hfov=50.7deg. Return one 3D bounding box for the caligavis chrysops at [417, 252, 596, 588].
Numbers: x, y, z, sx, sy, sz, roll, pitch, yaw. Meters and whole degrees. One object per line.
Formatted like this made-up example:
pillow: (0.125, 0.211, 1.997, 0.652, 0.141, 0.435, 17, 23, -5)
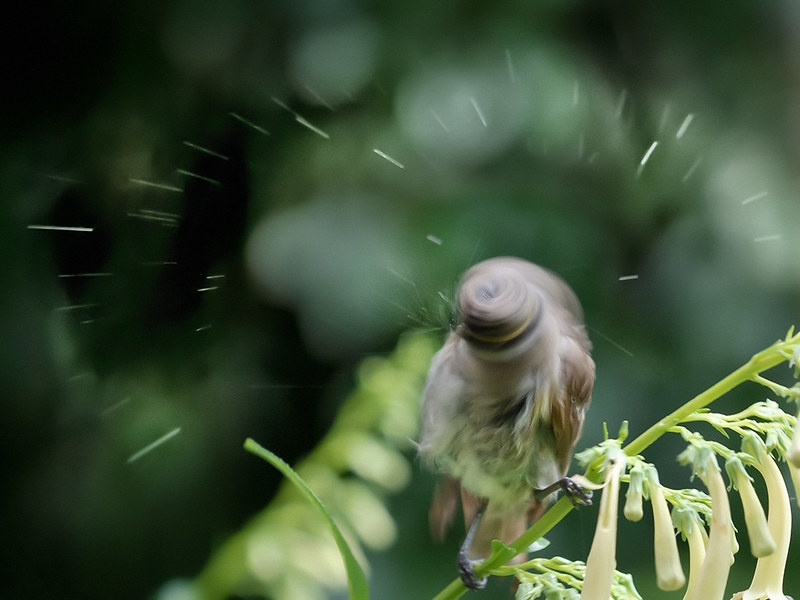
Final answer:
caligavis chrysops: (0.168, 0.221, 1.422, 0.303, 0.526, 0.437, 0, 49, 13)
